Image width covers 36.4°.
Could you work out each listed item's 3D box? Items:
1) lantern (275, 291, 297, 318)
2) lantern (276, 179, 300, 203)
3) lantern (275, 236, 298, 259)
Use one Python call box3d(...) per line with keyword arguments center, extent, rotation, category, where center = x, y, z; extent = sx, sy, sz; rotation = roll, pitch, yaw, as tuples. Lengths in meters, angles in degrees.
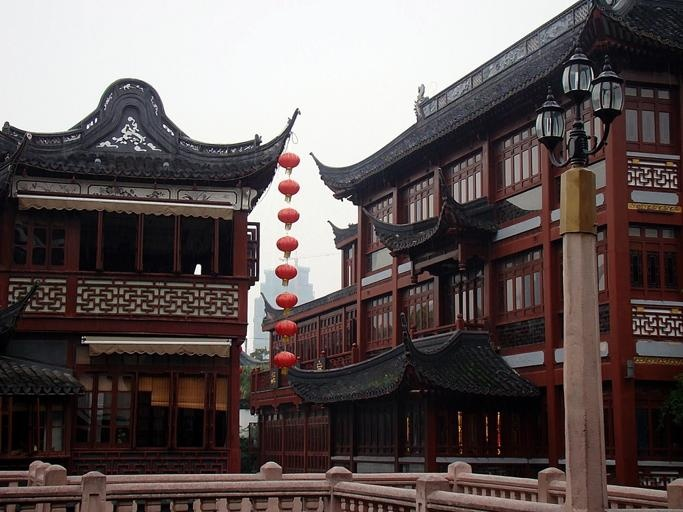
box3d(center=(-1.380, 1.274, 26.943), extent=(0.497, 0.615, 0.522), rotation=(3, -11, -19), category="lantern")
box3d(center=(-1.303, -1.611, 26.157), extent=(0.455, 0.692, 0.830), rotation=(3, -22, -12), category="lantern")
box3d(center=(-1.156, -0.211, 22.100), extent=(0.455, 0.559, 0.462), rotation=(-1, -4, -5), category="lantern")
